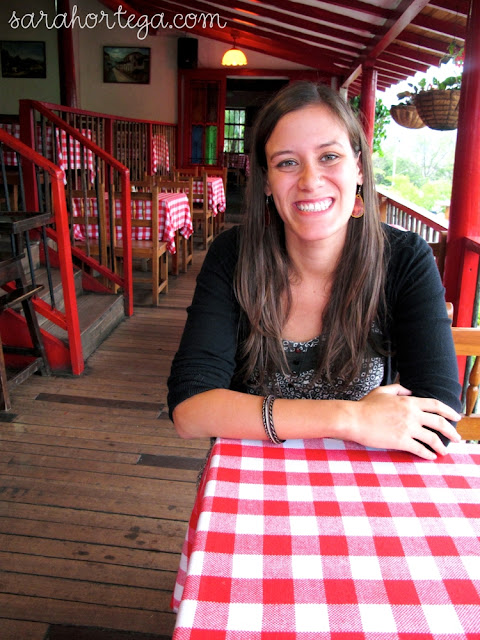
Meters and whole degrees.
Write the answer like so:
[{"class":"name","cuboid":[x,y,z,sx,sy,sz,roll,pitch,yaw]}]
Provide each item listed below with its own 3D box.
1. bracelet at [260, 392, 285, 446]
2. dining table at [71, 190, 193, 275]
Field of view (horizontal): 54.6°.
[{"class":"bracelet","cuboid":[0.058,0.180,0.840,0.016,0.058,0.060,-6,2,20]},{"class":"dining table","cuboid":[-0.947,-0.787,4.605,0.704,0.963,0.663,9,12,-11]}]
